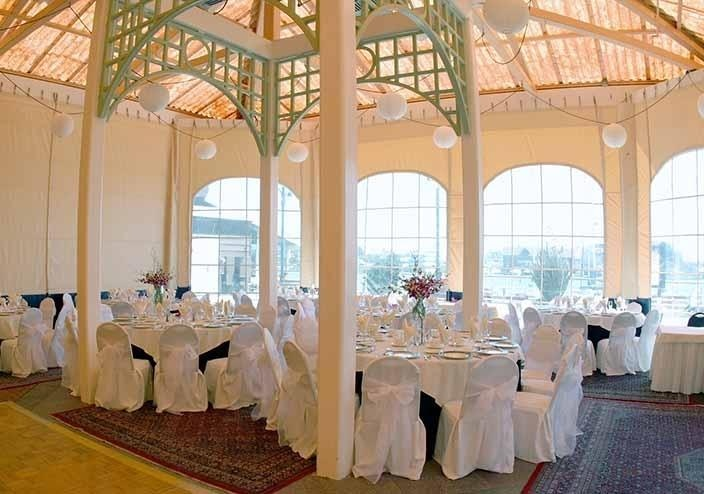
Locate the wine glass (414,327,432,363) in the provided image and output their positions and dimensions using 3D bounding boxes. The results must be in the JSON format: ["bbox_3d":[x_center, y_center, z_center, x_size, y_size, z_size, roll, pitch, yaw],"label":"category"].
[{"bbox_3d":[0.853,1.231,6.407,0.247,0.438,0.245,-4,-8,40],"label":"wine glass"}]
